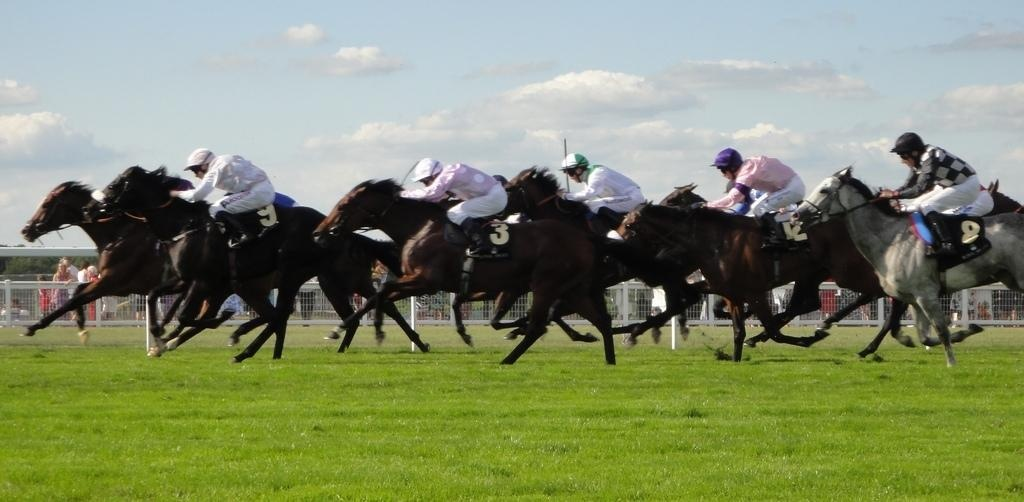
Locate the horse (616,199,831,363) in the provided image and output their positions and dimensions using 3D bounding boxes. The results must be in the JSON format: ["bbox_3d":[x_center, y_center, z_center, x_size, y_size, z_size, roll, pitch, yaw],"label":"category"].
[{"bbox_3d":[3.476,0.398,20.670,5.163,2.275,1.201,-2,7,-37],"label":"horse"}]

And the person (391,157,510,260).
[{"bbox_3d":[-0.860,-0.680,20.154,1.798,1.076,0.812,6,-6,-8],"label":"person"}]

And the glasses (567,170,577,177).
[{"bbox_3d":[0.979,-1.253,21.577,0.161,0.088,0.112,6,1,24],"label":"glasses"}]

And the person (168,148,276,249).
[{"bbox_3d":[-4.278,-0.741,20.402,1.302,1.392,0.469,0,-5,-6],"label":"person"}]

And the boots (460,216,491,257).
[{"bbox_3d":[-0.541,-0.195,19.349,0.303,0.594,0.341,13,-52,-45],"label":"boots"}]

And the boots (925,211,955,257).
[{"bbox_3d":[6.016,-0.259,18.870,0.376,0.611,0.134,-1,-5,13],"label":"boots"}]

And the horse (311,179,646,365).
[{"bbox_3d":[-0.619,0.285,19.659,4.773,2.024,0.899,5,-11,1],"label":"horse"}]
